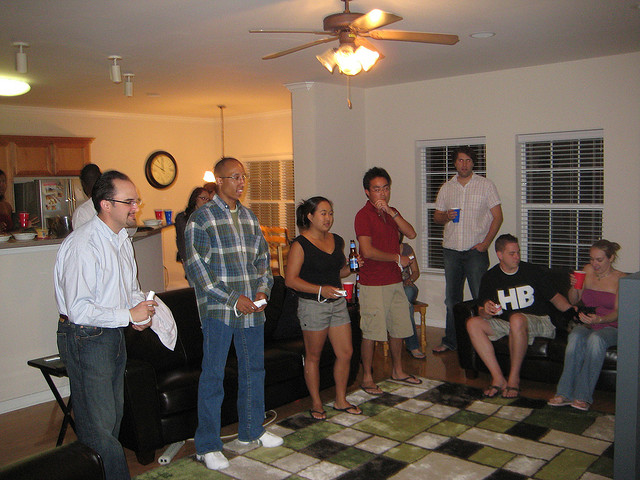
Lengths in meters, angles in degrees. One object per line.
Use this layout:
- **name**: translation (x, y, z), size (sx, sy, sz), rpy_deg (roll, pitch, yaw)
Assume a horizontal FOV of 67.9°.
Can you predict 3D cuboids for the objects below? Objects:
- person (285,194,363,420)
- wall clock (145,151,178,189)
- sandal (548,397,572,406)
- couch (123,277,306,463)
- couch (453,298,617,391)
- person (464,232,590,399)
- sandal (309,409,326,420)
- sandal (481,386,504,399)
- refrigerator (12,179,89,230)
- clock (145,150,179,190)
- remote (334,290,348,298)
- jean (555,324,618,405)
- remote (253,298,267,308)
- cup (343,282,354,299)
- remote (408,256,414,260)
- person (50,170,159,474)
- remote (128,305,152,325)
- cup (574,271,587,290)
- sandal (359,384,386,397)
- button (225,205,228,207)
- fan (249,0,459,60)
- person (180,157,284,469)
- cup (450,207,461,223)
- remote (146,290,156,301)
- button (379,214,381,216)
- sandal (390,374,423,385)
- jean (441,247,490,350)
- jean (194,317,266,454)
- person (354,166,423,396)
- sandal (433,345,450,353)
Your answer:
- **person**: translation (0.057, 0.533, 3.772), size (0.567, 1.756, 0.600), rpy_deg (-2, 6, 5)
- **wall clock**: translation (-3.038, -1.360, 9.232), size (0.777, 0.720, 0.091), rpy_deg (4, 9, 25)
- **sandal**: translation (1.932, 1.290, 3.833), size (0.170, 0.044, 0.059), rpy_deg (1, -2, 3)
- **couch**: translation (-0.854, 1.036, 3.997), size (0.755, 0.894, 1.753), rpy_deg (-2, 0, 41)
- **couch**: translation (1.762, 1.013, 4.259), size (1.210, 0.809, 0.664), rpy_deg (-2, -12, 33)
- **person**: translation (1.761, 0.629, 4.222), size (0.978, 1.295, 0.981), rpy_deg (-5, 2, -17)
- **sandal**: translation (-0.030, 1.376, 3.798), size (0.171, 0.054, 0.091), rpy_deg (0, 6, 24)
- **sandal**: translation (1.482, 1.293, 4.085), size (0.194, 0.076, 0.102), rpy_deg (-3, 6, -11)
- **refrigerator**: translation (-4.013, -0.587, 6.980), size (0.899, 0.710, 2.131), rpy_deg (-6, 6, -31)
- **clock**: translation (-3.091, -1.372, 9.175), size (0.129, 0.754, 0.784), rpy_deg (-1, 5, 37)
- **remote**: translation (0.157, 0.390, 3.526), size (0.076, 0.083, 0.155), rpy_deg (-1, 6, 13)
- **jean**: translation (2.165, 1.002, 3.857), size (0.430, 0.576, 0.309), rpy_deg (-7, 7, -41)
- **remote**: translation (-0.399, 0.411, 3.128), size (0.083, 0.044, 0.070), rpy_deg (-3, 5, -8)
- **cup**: translation (0.207, 0.385, 3.693), size (0.111, 0.121, 0.111), rpy_deg (-1, -4, 0)
- **remote**: translation (0.903, 0.164, 4.684), size (0.016, 0.047, 0.070), rpy_deg (7, 9, 42)
- **person**: translation (-1.192, 0.452, 2.686), size (0.519, 1.683, 0.397), rpy_deg (-6, 6, -29)
- **remote**: translation (-0.992, 0.407, 2.625), size (0.128, 0.049, 0.093), rpy_deg (-14, -16, 31)
- **cup**: translation (2.259, 0.341, 4.133), size (0.095, 0.187, 0.266), rpy_deg (1, 6, 29)
- **sandal**: translation (0.456, 1.325, 4.230), size (0.078, 0.050, 0.200), rpy_deg (1, -1, -44)
- **button**: translation (-0.634, -0.233, 3.207), size (0.014, 0.021, 0.013), rpy_deg (0, -1, 2)
- **fan**: translation (0.344, -1.430, 3.132), size (1.042, 0.318, 0.520), rpy_deg (-2, 5, 7)
- **person**: translation (-0.598, 0.476, 3.225), size (0.582, 2.059, 0.400), rpy_deg (-3, 6, -7)
- **cup**: translation (1.489, -0.291, 5.222), size (0.145, 0.158, 0.137), rpy_deg (-1, -1, 0)
- **remote**: translation (-0.971, 0.308, 2.712), size (0.014, 0.054, 0.058), rpy_deg (17, -11, 5)
- **button**: translation (0.499, -0.217, 4.018), size (0.015, 0.014, 0.004), rpy_deg (-12, 1, -11)
- **sandal**: translation (0.807, 1.278, 4.421), size (0.221, 0.051, 0.085), rpy_deg (0, -2, 24)
- **jean**: translation (1.586, 0.598, 5.260), size (0.495, 0.360, 1.477), rpy_deg (0, 44, 20)
- **jean**: translation (-0.603, 0.921, 3.257), size (0.495, 1.106, 0.266), rpy_deg (-2, 8, -29)
- **person**: translation (0.515, 0.362, 4.083), size (0.648, 1.978, 0.412), rpy_deg (-5, 6, -26)
- **sandal**: translation (1.370, 1.221, 5.370), size (0.200, 0.052, 0.070), rpy_deg (3, -3, -20)
